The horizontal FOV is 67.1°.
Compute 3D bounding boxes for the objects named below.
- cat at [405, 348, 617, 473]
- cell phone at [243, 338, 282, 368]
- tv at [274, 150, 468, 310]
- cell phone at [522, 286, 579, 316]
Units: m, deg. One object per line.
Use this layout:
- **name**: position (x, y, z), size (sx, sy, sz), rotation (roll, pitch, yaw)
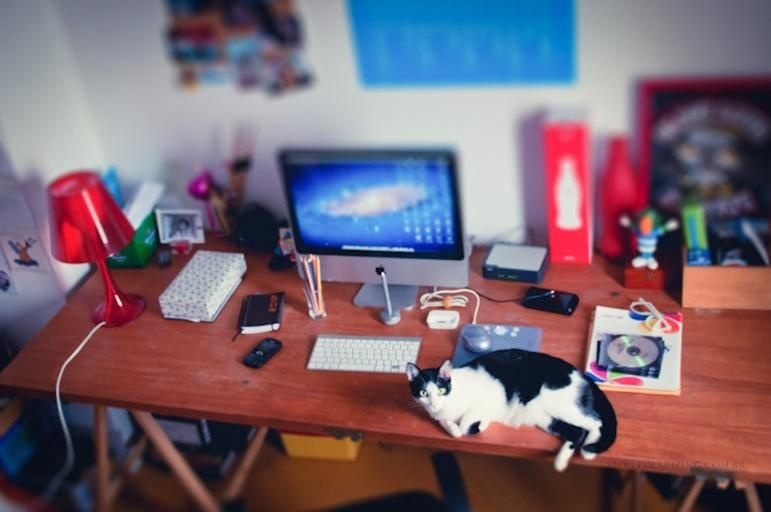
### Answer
- **cat**: position (0.402, 0.456, 1.774), size (0.515, 0.206, 0.357), rotation (-3, 29, 11)
- **cell phone**: position (-0.425, 0.332, 2.018), size (0.068, 0.020, 0.126), rotation (17, 38, 28)
- **tv**: position (-0.028, -0.096, 2.059), size (0.613, 0.546, 0.207), rotation (2, 40, 13)
- **cell phone**: position (0.598, 0.155, 2.071), size (0.164, 0.017, 0.092), rotation (9, 44, 24)
